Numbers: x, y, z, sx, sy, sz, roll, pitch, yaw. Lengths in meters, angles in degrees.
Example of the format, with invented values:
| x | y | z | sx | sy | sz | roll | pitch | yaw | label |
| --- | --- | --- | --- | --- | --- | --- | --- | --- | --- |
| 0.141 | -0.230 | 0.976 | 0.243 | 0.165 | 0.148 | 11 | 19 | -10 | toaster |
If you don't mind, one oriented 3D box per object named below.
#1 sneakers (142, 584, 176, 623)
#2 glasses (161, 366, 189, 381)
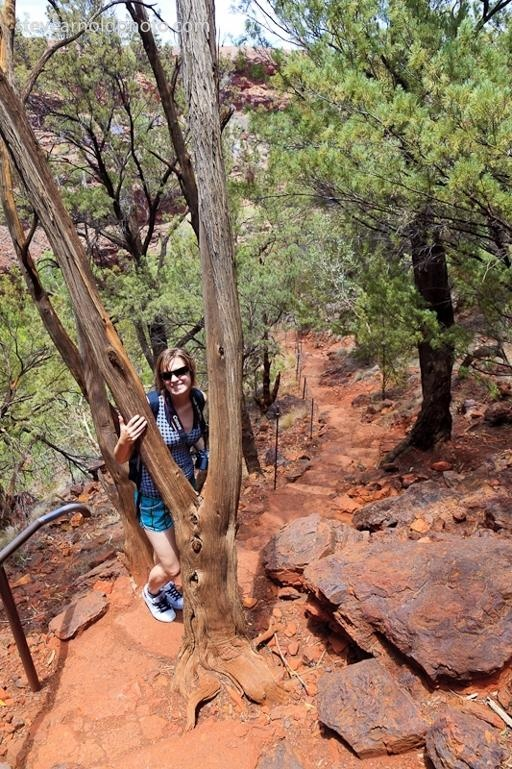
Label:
| x | y | z | sx | sy | sz | roll | pitch | yaw | label |
| --- | --- | --- | --- | --- | --- | --- | --- | --- | --- |
| -0.713 | 1.645 | 3.730 | 0.142 | 0.137 | 0.328 | -10 | 40 | -46 | sneakers |
| -0.464 | -0.060 | 2.912 | 0.179 | 0.077 | 0.118 | -13 | 4 | -10 | glasses |
